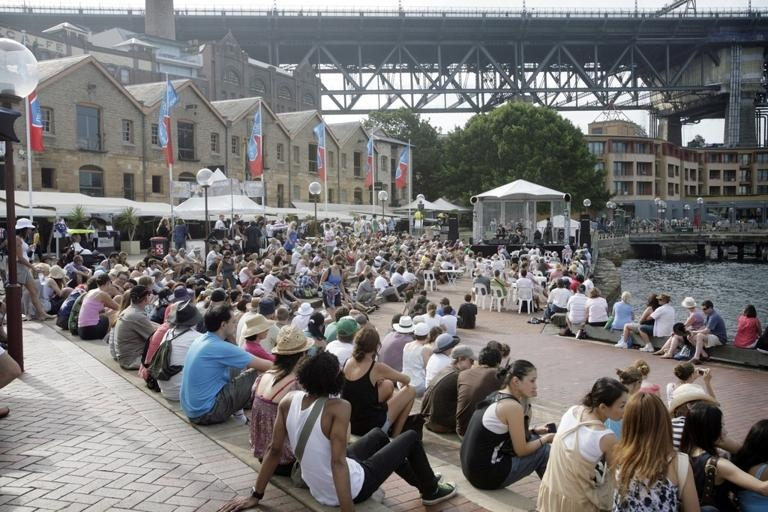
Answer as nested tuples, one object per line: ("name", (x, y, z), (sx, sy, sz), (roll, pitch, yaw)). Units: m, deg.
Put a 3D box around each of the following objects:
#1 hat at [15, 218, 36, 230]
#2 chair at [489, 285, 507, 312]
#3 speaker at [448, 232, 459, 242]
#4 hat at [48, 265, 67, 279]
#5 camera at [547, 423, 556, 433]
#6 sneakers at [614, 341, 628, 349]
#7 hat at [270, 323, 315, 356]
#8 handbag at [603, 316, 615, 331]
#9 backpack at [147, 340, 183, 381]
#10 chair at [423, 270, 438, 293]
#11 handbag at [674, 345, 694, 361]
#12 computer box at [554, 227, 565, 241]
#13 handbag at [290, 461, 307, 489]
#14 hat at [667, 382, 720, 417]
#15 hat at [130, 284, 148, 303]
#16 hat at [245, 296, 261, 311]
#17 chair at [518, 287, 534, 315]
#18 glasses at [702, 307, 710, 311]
("hat", (-10.295, -0.892, 23.239), (0.690, 0.284, 0.726), (-1, 1, 0))
("chair", (4.360, 1.623, 31.343), (0.626, 1.161, 0.680), (8, 16, 39))
("speaker", (4.413, -1.208, 52.216), (0.693, 0.824, 0.544), (0, -2, 4))
("hat", (-10.153, 0.543, 25.495), (0.390, 0.240, 0.406), (-7, 23, -26))
("camera", (3.518, 3.642, 17.301), (0.183, 0.209, 0.048), (0, -2, -10))
("sneakers", (7.485, 2.820, 25.873), (0.395, 0.229, 0.160), (3, 4, 17))
("hat", (-1.885, 1.687, 16.620), (0.599, 0.274, 0.567), (-4, 7, 38))
("handbag", (7.324, 2.209, 26.651), (0.099, 0.401, 0.206), (24, 4, -17))
("backpack", (-4.991, 2.412, 18.857), (0.795, 0.909, 0.448), (8, 6, 44))
("chair", (1.988, 1.086, 35.739), (0.677, 1.364, 0.864), (0, 1, -3))
("handbag", (8.916, 2.922, 24.359), (0.407, 0.206, 0.437), (-11, -3, 19))
("computer box", (10.130, -1.169, 46.783), (0.595, 0.992, 0.679), (-1, 0, 2))
("handbag", (-1.693, 4.399, 16.360), (0.321, 0.704, 0.532), (-1, 9, 0))
("hat", (6.219, 2.845, 16.664), (0.775, 0.370, 0.695), (-4, -3, -18))
("hat", (-6.039, 0.918, 20.425), (0.323, 0.433, 0.451), (1, 29, 2))
("hat", (-3.620, 1.382, 22.636), (0.476, 0.237, 0.569), (19, 12, 13))
("chair", (5.359, 1.715, 31.080), (0.687, 1.235, 0.822), (-1, 4, 8))
("glasses", (9.592, 1.595, 24.434), (0.124, 0.065, 0.110), (3, 2, 5))
